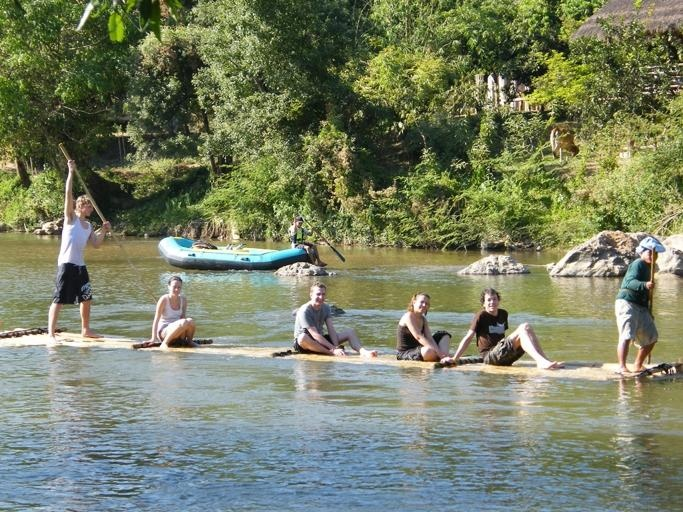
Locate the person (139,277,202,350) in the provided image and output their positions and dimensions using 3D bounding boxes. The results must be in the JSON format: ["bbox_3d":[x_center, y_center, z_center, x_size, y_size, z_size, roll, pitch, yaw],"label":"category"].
[{"bbox_3d":[-3.792,1.291,29.709,1.104,1.534,1.063,-1,12,-39],"label":"person"}]

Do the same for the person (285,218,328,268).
[{"bbox_3d":[-1.194,-0.445,46.754,1.389,1.820,0.722,-6,4,19],"label":"person"}]

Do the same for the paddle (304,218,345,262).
[{"bbox_3d":[-0.649,-0.615,54.636,0.440,2.863,0.337,-45,5,-13],"label":"paddle"}]
